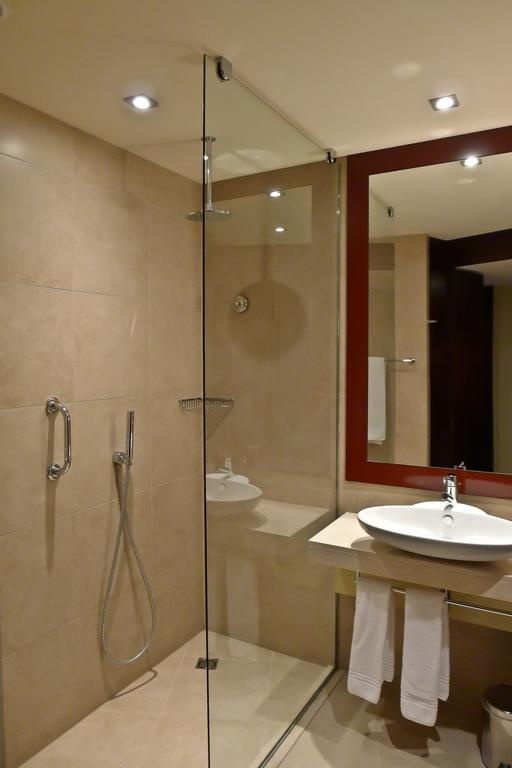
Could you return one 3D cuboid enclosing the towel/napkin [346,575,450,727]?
[{"bbox_3d":[0.471,0.860,1.966,0.327,0.401,0.167,3,5,33],"label":"towel/napkin"}]
